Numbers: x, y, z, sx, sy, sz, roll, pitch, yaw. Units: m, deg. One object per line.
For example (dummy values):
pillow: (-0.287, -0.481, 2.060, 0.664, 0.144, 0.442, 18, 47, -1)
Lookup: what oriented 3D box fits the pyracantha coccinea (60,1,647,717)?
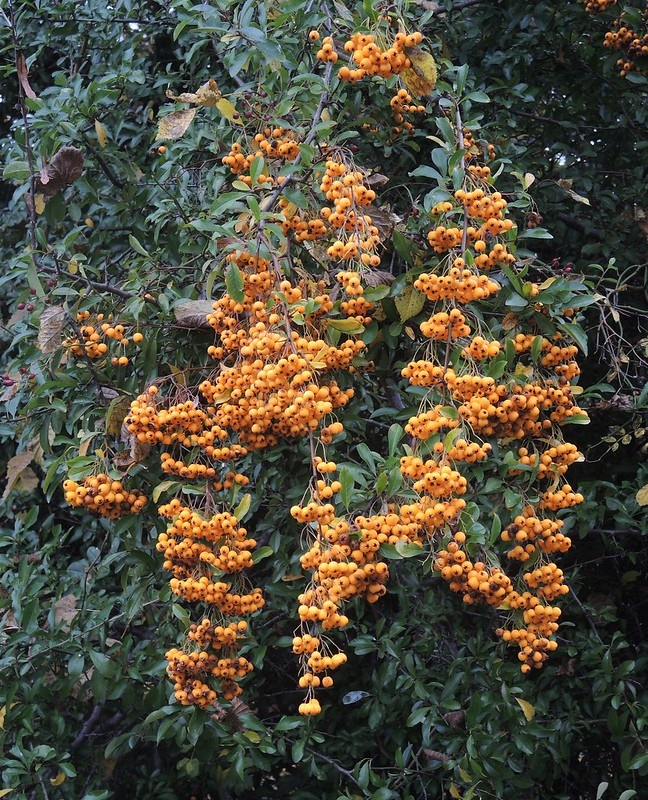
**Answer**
pyracantha coccinea: (0.221, -0.070, 4.996, 2.690, 2.771, 1.234, 3, -9, 4)
